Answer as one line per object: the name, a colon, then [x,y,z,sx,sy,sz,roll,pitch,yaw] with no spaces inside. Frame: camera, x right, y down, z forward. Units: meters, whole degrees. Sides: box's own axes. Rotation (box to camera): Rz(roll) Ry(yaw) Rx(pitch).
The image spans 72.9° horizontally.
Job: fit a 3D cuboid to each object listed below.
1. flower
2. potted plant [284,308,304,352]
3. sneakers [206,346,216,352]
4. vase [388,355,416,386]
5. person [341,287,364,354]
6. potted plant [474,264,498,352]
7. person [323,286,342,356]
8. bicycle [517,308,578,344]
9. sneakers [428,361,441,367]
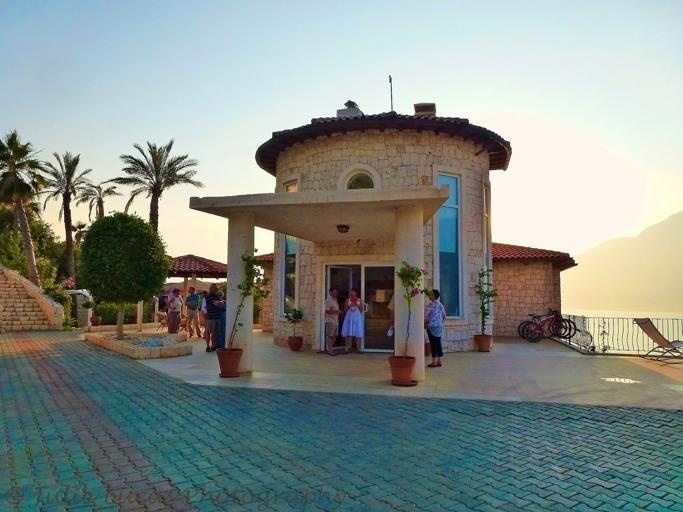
flower: [1.453,1.076,9.412,0.655,1.961,0.767,0,-5,9]
potted plant: [-1.463,2.318,14.637,0.528,1.295,1.031,1,-5,-7]
sneakers: [-3.901,2.791,13.796,0.191,0.216,0.507,4,-6,-20]
vase: [1.224,2.315,9.275,0.504,0.482,0.575,-3,-15,13]
person: [0.368,1.963,13.996,0.616,1.887,1.280,0,-5,3]
potted plant: [4.784,1.699,15.048,0.600,2.698,1.421,-3,-6,33]
person: [-0.257,1.939,13.885,0.501,1.916,0.972,1,-5,-2]
bicycle: [8.169,2.822,18.401,2.025,1.180,0.988,-5,-1,2]
sneakers: [2.380,2.708,11.625,0.278,0.115,0.144,1,-3,-8]
